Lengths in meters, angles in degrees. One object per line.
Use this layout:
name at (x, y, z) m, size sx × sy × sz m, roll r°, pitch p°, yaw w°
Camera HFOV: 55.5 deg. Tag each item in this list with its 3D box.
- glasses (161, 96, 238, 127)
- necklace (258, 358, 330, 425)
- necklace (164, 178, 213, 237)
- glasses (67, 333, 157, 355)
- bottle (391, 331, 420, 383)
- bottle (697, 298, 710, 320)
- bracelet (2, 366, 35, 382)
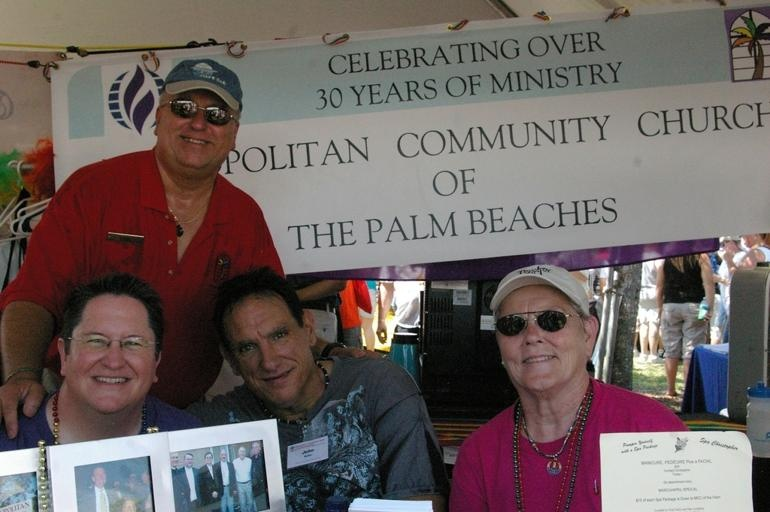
glasses at (-1.069, -0.840, 4.276) m, size 0.371 × 0.158 × 0.072 m, roll -2°, pitch -4°, yaw -11°
necklace at (-0.438, 0.734, 3.949) m, size 0.308 × 0.337 × 0.102 m, roll -1°, pitch -14°, yaw 9°
necklace at (-1.201, -0.301, 4.437) m, size 0.269 × 0.286 × 0.350 m, roll 5°, pitch 9°, yaw -9°
glasses at (-1.273, 0.405, 3.397) m, size 0.378 × 0.091 × 0.096 m, roll -1°, pitch -5°, yaw -17°
bottle at (0.157, 0.672, 4.934) m, size 0.258 × 0.407 × 0.287 m, roll -1°, pitch -2°, yaw 9°
bottle at (3.523, 0.591, 8.116) m, size 0.174 × 0.247 × 0.082 m, roll 15°, pitch -10°, yaw -43°
bracelet at (-1.883, 0.607, 3.762) m, size 0.098 × 0.078 × 0.100 m, roll -1°, pitch -6°, yaw 5°
